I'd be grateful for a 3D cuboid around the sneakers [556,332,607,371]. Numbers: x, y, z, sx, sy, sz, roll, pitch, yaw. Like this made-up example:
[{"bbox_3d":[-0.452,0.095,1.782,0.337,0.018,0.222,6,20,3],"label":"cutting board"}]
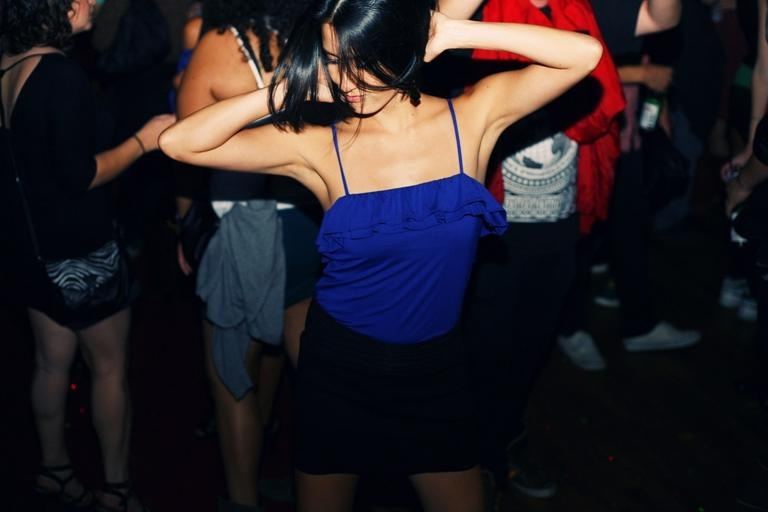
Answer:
[{"bbox_3d":[1.192,0.620,4.390,0.232,0.109,0.416,9,6,8],"label":"sneakers"}]
